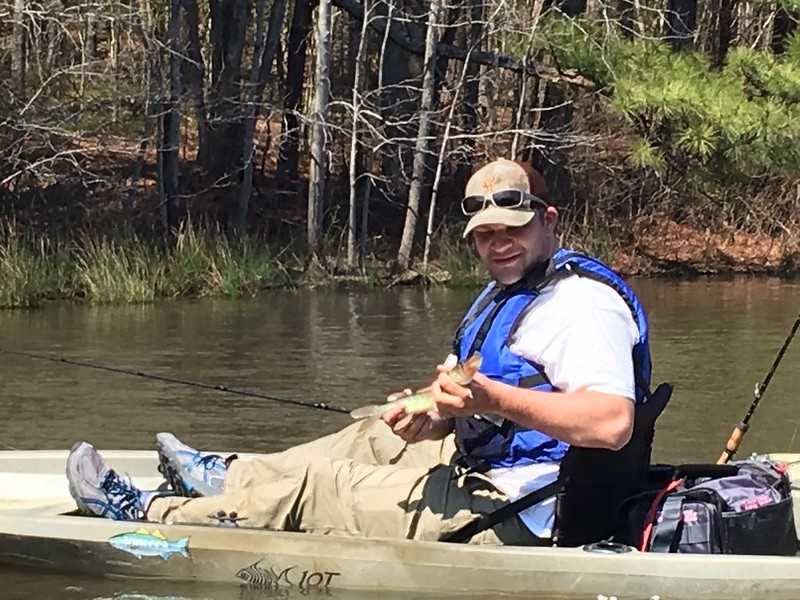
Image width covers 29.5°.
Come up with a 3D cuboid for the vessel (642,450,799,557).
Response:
[{"bbox_3d":[2.265,1.457,10.816,0.873,0.393,0.666,0,2,17],"label":"vessel"}]

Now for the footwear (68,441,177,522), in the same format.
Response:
[{"bbox_3d":[-2.072,1.389,11.246,0.423,0.331,0.981,-8,-36,42],"label":"footwear"}]

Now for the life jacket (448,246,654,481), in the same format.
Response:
[{"bbox_3d":[0.992,0.421,10.621,1.272,1.567,0.486,2,4,7],"label":"life jacket"}]

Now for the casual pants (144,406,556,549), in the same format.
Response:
[{"bbox_3d":[-0.343,1.302,11.148,3.224,0.821,1.080,-2,-8,4],"label":"casual pants"}]

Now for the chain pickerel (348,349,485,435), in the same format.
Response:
[{"bbox_3d":[0.115,0.740,11.955,1.036,0.294,0.218,-31,-22,21],"label":"chain pickerel"}]

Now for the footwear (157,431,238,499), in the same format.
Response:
[{"bbox_3d":[-1.475,1.248,11.335,0.675,0.311,0.237,23,13,27],"label":"footwear"}]
